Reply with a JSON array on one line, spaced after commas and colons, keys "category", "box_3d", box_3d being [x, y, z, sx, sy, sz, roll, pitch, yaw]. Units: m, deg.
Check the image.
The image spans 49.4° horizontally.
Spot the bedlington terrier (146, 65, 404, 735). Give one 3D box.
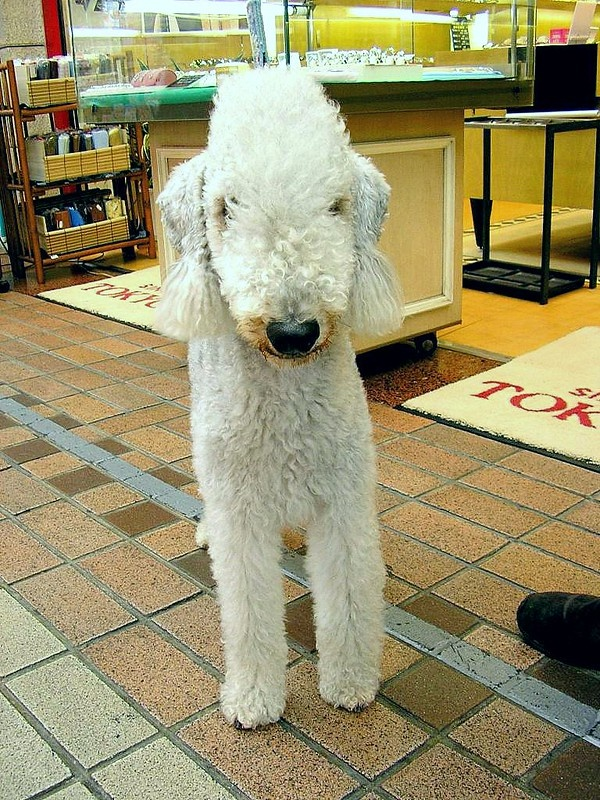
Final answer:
[{"category": "bedlington terrier", "box_3d": [-0.038, 0.066, 0.995, 0.374, 1.046, 0.357, 1, 23, 17]}]
